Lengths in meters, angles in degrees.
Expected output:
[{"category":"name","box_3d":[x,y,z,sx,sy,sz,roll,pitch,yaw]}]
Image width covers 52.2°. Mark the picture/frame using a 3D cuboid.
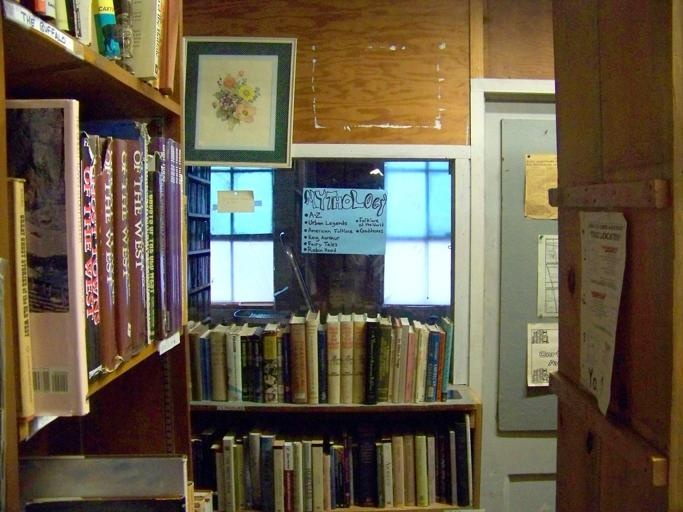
[{"category":"picture/frame","box_3d":[-0.365,-0.550,2.506,0.506,0.608,0.022,1,-4,0]}]
